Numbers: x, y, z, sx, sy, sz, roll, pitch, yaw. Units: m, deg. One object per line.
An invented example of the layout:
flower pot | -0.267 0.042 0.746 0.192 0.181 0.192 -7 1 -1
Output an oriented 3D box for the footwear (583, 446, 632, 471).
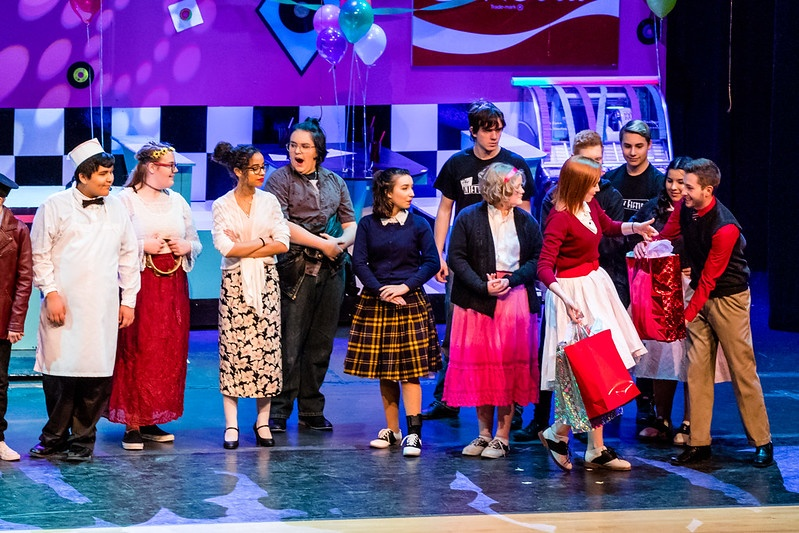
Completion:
footwear | 1.212 1.143 4.604 0.267 0.121 0.117 0 3 2

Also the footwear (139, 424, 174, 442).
footwear | -1.548 1.078 4.991 0.253 0.089 0.091 5 -2 8

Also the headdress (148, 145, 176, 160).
headdress | -1.471 -0.699 4.849 0.080 0.037 0.111 12 35 4

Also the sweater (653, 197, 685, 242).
sweater | 1.722 -0.334 4.900 0.102 0.318 0.233 9 51 27

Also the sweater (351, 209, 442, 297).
sweater | -0.022 -0.037 5.101 0.773 0.741 0.456 0 -5 -1

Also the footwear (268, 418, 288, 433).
footwear | -0.807 1.054 5.114 0.087 0.092 0.236 1 -10 -7

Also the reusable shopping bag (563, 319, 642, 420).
reusable shopping bag | 1.120 0.573 4.409 0.418 0.520 0.221 -30 -7 2

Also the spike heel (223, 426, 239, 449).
spike heel | -1.055 1.080 4.875 0.097 0.113 0.167 -2 10 -12

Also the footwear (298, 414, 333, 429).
footwear | -0.569 1.068 5.292 0.252 0.102 0.090 -1 0 33

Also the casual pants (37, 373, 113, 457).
casual pants | -1.961 0.901 4.660 0.369 0.230 0.667 14 30 -28

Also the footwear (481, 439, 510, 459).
footwear | 0.571 1.120 4.751 0.125 0.100 0.152 5 11 26

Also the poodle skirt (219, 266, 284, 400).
poodle skirt | -0.942 0.434 4.904 0.374 0.850 0.239 -2 11 -12

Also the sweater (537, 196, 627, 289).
sweater | 1.098 -0.151 4.747 0.222 0.254 0.596 -1 27 42

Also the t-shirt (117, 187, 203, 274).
t-shirt | -1.540 -0.217 4.934 0.580 0.513 0.323 -1 3 -41

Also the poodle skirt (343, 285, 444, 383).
poodle skirt | -0.049 0.380 4.979 0.571 0.629 0.390 0 7 11

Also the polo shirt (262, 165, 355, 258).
polo shirt | -0.616 -0.344 5.142 0.614 0.478 0.300 -3 -6 -34

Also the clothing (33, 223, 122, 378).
clothing | -1.874 0.195 4.515 0.482 0.885 0.255 -2 11 -16

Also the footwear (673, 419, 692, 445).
footwear | 1.804 1.099 5.014 0.070 0.072 0.204 0 4 8

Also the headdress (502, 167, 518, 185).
headdress | 0.668 -0.554 4.721 0.089 0.022 0.091 -48 12 -21

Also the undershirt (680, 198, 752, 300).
undershirt | 1.912 -0.152 4.774 0.337 0.595 0.489 -21 26 -10

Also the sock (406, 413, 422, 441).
sock | 0.063 1.007 4.891 0.119 0.186 0.136 0 -19 -7

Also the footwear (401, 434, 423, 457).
footwear | 0.069 1.107 4.769 0.112 0.102 0.135 1 10 5

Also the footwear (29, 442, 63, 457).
footwear | -2.080 1.093 4.610 0.177 0.075 0.077 10 2 -22

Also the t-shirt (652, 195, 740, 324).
t-shirt | 1.825 -0.101 4.754 0.549 0.651 0.518 -15 27 -2

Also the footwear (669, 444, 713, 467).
footwear | 1.736 1.142 4.695 0.271 0.106 0.098 -2 4 -20

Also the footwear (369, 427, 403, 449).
footwear | -0.090 1.112 4.944 0.085 0.088 0.214 -5 -6 41

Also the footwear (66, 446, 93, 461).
footwear | -1.856 1.105 4.536 0.163 0.068 0.062 -1 22 -12

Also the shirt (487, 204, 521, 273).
shirt | 0.645 -0.174 4.748 0.207 0.377 0.094 -3 -3 -6

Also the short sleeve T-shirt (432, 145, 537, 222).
short sleeve T-shirt | 0.581 -0.524 5.428 0.744 0.583 0.279 3 21 12

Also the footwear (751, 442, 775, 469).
footwear | 2.116 1.138 4.581 0.073 0.082 0.198 -8 1 29

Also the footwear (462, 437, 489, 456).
footwear | 0.464 1.120 4.819 0.207 0.079 0.074 -4 3 -43

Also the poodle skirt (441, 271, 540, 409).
poodle skirt | 0.583 0.475 4.904 0.630 0.750 0.415 2 -7 -4

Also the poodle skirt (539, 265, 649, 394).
poodle skirt | 1.110 0.376 4.535 0.605 0.624 0.472 -27 -3 -11
